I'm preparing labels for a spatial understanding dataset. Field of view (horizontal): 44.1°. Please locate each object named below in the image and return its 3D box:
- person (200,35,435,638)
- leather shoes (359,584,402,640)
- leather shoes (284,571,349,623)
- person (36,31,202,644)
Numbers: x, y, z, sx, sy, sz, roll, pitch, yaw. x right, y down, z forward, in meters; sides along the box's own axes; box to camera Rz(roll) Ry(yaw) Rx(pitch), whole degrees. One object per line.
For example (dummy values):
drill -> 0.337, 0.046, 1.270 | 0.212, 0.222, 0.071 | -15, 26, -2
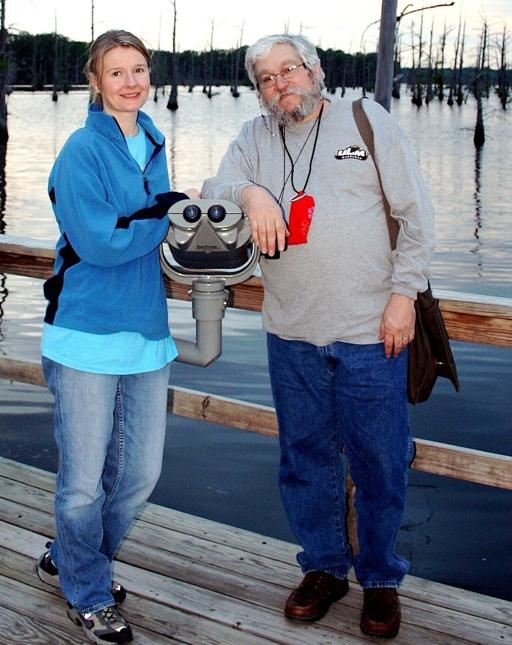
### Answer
person -> 0.158, 0.036, 1.850 | 0.654, 1.679, 0.412 | 4, 12, 13
leather shoes -> 0.356, 0.825, 1.805 | 0.076, 0.061, 0.164 | -1, 5, 4
leather shoes -> 0.185, 0.821, 1.905 | 0.084, 0.078, 0.218 | 4, 6, 33
person -> -0.425, 0.047, 1.785 | 0.379, 1.643, 0.432 | 7, 13, 24
